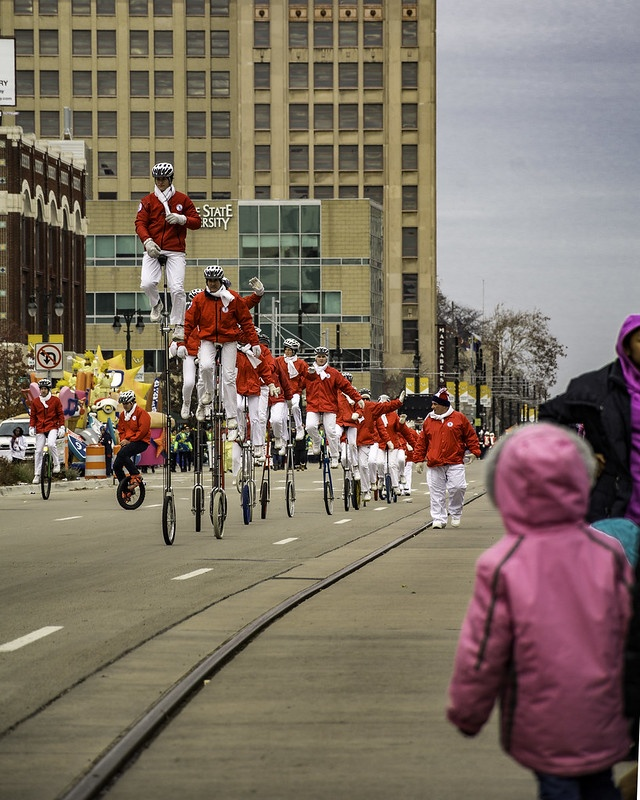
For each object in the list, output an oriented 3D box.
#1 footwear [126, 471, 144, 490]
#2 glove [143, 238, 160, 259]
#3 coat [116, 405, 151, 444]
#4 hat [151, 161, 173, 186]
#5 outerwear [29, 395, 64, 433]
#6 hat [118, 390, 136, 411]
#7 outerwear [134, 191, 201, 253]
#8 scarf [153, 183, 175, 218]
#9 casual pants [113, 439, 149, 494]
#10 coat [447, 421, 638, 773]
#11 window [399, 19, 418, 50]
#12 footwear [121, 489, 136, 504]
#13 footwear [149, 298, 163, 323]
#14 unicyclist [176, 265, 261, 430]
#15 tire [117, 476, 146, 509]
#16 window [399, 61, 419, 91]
[{"bbox_3d":[-3.101,1.350,26.283,0.136,0.316,0.413,-8,-21,41],"label":"footwear"},{"bbox_3d":[-1.935,-1.719,18.107,0.067,0.216,0.150,-18,-8,29],"label":"glove"},{"bbox_3d":[-3.035,0.399,25.939,0.505,0.685,0.438,-13,-32,26],"label":"coat"},{"bbox_3d":[-1.803,-2.592,18.163,0.238,0.331,0.326,1,16,11],"label":"hat"},{"bbox_3d":[-4.951,0.273,29.065,0.707,0.966,0.590,-2,-2,1],"label":"outerwear"},{"bbox_3d":[-3.143,-0.012,26.099,0.245,0.345,0.335,0,-8,-3],"label":"hat"},{"bbox_3d":[-1.766,-2.038,18.331,0.785,0.935,0.659,3,7,-9],"label":"outerwear"},{"bbox_3d":[-1.796,-2.268,18.234,0.259,0.347,0.127,-1,-1,34],"label":"scarf"},{"bbox_3d":[-3.057,0.983,25.764,0.549,0.663,0.907,0,-1,-13],"label":"casual pants"},{"bbox_3d":[0.584,0.517,4.188,0.474,0.903,0.314,-1,-1,-2],"label":"coat"},{"bbox_3d":[6.430,-26.968,117.038,1.747,3.426,0.371,0,-1,-2],"label":"window"},{"bbox_3d":[-3.189,1.574,26.278,0.072,0.220,0.203,4,2,41],"label":"footwear"},{"bbox_3d":[-1.868,-1.035,18.253,0.116,0.379,0.144,9,-37,-10],"label":"footwear"},{"bbox_3d":[-1.178,-0.524,18.488,0.626,1.975,1.024,-1,-1,32],"label":"unicyclist"},{"bbox_3d":[-3.211,1.515,26.359,0.497,0.585,0.522,4,9,34],"label":"tire"},{"bbox_3d":[6.280,-24.078,118.803,1.292,2.489,1.712,0,1,-2],"label":"window"}]
